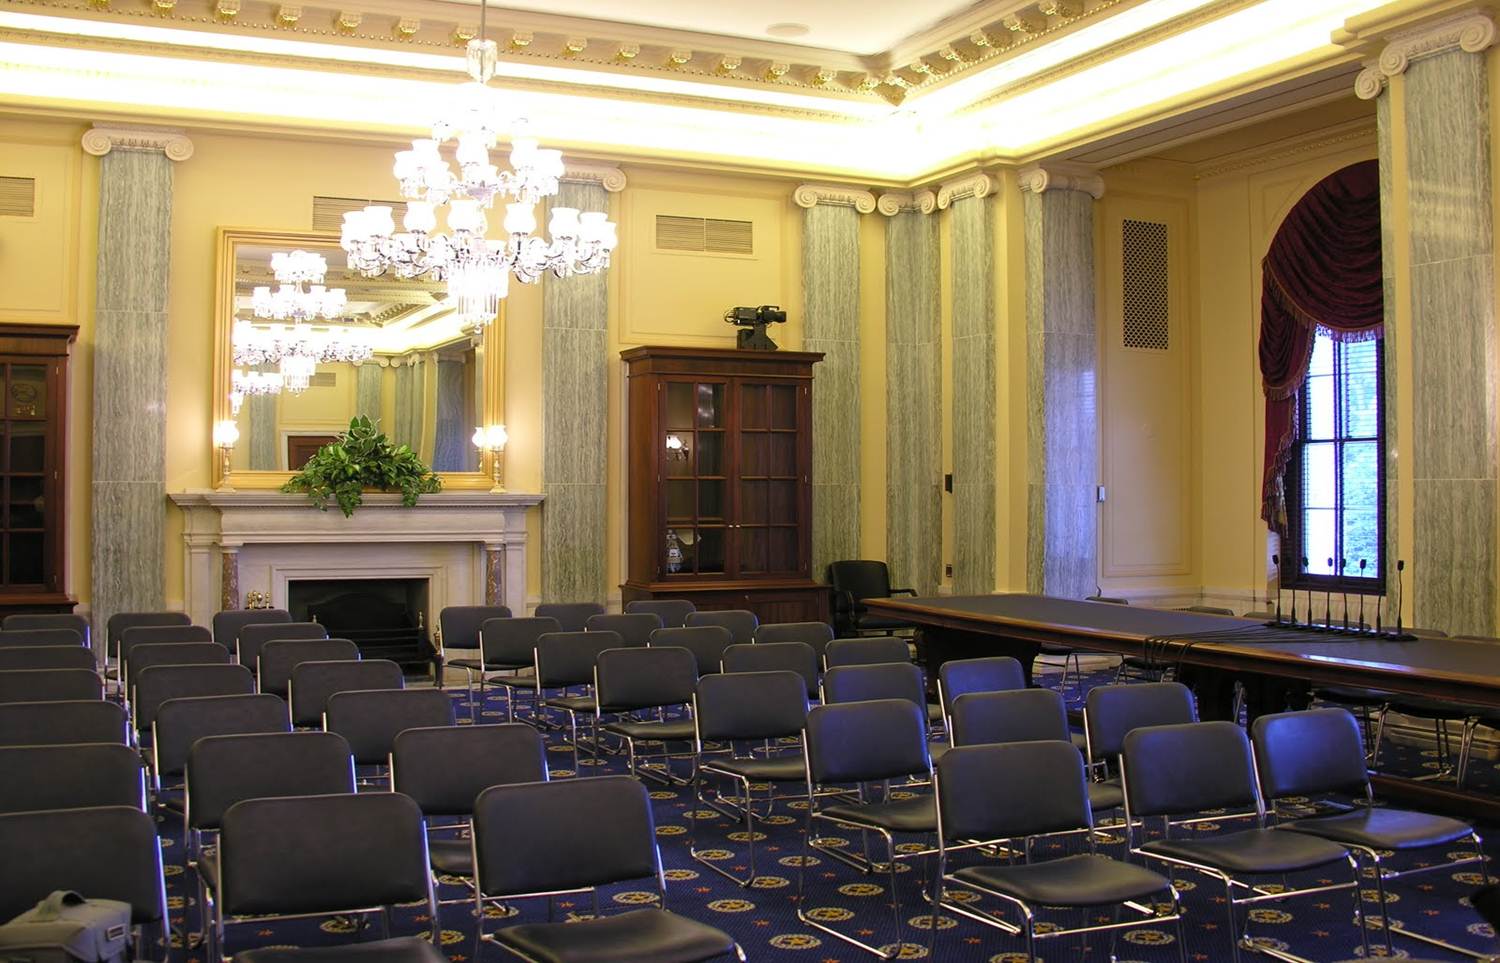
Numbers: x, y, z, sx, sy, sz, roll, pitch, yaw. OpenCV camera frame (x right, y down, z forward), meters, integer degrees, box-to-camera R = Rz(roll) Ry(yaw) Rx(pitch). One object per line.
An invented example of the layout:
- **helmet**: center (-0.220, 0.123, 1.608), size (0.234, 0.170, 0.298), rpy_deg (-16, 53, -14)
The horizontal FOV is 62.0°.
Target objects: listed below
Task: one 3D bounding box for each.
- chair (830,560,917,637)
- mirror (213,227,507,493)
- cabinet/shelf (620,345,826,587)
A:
- **chair**: center (1.197, 1.247, 13.075), size (0.860, 0.937, 0.798), rpy_deg (1, -9, -18)
- **mirror**: center (-3.836, -1.126, 11.749), size (2.788, 2.257, 0.221), rpy_deg (0, -4, -24)
- **cabinet/shelf**: center (-0.390, -0.132, 12.751), size (2.588, 3.015, 0.906), rpy_deg (1, -2, -21)
